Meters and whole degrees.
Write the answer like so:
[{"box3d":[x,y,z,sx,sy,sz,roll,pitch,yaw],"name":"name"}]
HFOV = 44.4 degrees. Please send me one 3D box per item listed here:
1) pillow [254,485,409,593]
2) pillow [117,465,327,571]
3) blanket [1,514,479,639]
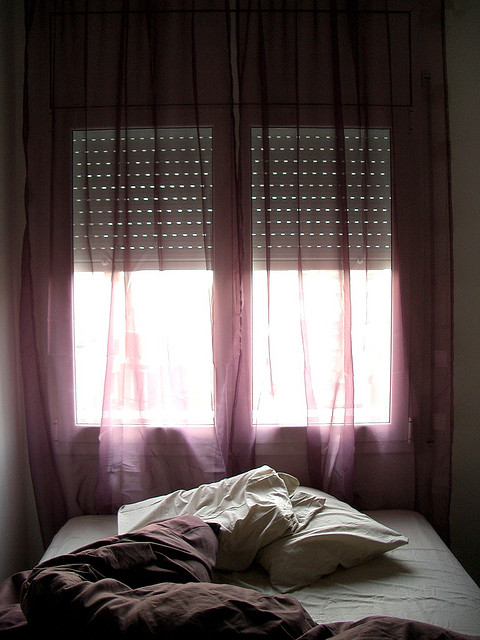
[{"box3d":[0.250,0.682,1.785,0.237,0.081,0.252,-22,7,-13],"name":"pillow"},{"box3d":[-0.043,0.616,1.860,0.368,0.126,0.356,-23,-9,8],"name":"pillow"},{"box3d":[-0.100,0.662,1.457,0.958,0.215,0.502,-2,1,-2],"name":"blanket"}]
